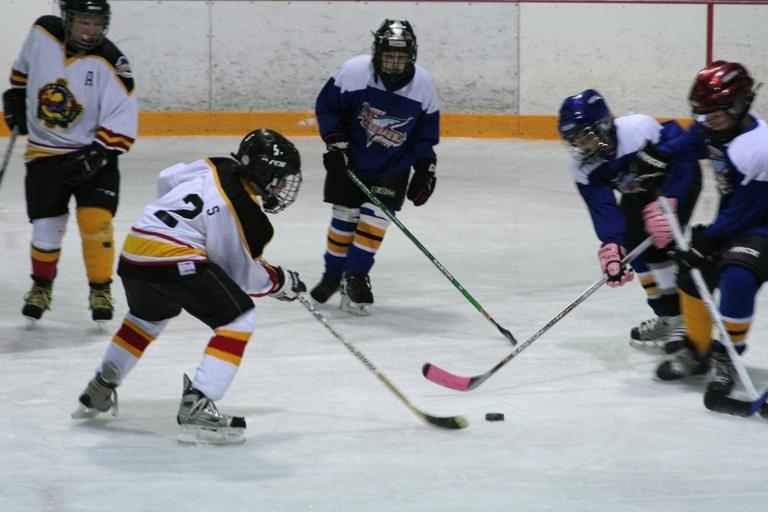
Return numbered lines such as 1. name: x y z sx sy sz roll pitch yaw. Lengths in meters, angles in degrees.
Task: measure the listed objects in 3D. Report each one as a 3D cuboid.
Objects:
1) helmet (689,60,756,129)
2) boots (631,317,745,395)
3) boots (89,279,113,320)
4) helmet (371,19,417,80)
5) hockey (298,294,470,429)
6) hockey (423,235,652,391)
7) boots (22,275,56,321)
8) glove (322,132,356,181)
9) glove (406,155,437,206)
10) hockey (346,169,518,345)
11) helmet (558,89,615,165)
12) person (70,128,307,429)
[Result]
1. helmet: 1.563 -0.734 3.891 0.278 0.313 0.240 8 17 17
2. boots: 1.451 0.475 4.064 0.176 0.193 0.489 -15 24 -8
3. boots: -1.541 0.249 4.592 0.114 0.102 0.266 -5 15 -19
4. helmet: 0.040 -1.213 4.969 0.346 0.322 0.356 -1 23 -4
5. hockey: -0.003 0.530 4.109 1.154 0.105 0.141 30 -12 42
6. hockey: 0.860 0.339 4.672 1.558 0.081 0.225 -24 64 -9
7. boots: -1.870 0.238 4.596 0.138 0.111 0.277 14 20 -21
8. glove: -0.274 -0.584 4.992 0.226 0.240 0.240 2 43 -1
9. glove: 0.237 -0.470 5.212 0.206 0.278 0.130 18 -3 -32
10. hockey: 0.298 0.037 5.470 1.749 0.267 0.148 42 2 12
11. helmet: 1.012 -0.618 4.114 0.351 0.365 0.172 -7 20 -33
12. person: -0.782 0.092 3.498 0.745 1.204 0.675 8 18 15
